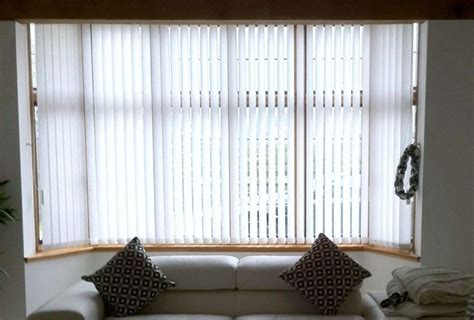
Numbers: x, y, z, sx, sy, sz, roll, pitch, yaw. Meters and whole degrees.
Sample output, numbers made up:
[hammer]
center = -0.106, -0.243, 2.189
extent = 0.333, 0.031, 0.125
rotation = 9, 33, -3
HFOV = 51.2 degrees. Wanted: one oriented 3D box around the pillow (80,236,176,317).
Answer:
[pillow]
center = -1.182, 1.212, 5.144
extent = 0.746, 0.226, 0.745
rotation = -44, -96, -7
